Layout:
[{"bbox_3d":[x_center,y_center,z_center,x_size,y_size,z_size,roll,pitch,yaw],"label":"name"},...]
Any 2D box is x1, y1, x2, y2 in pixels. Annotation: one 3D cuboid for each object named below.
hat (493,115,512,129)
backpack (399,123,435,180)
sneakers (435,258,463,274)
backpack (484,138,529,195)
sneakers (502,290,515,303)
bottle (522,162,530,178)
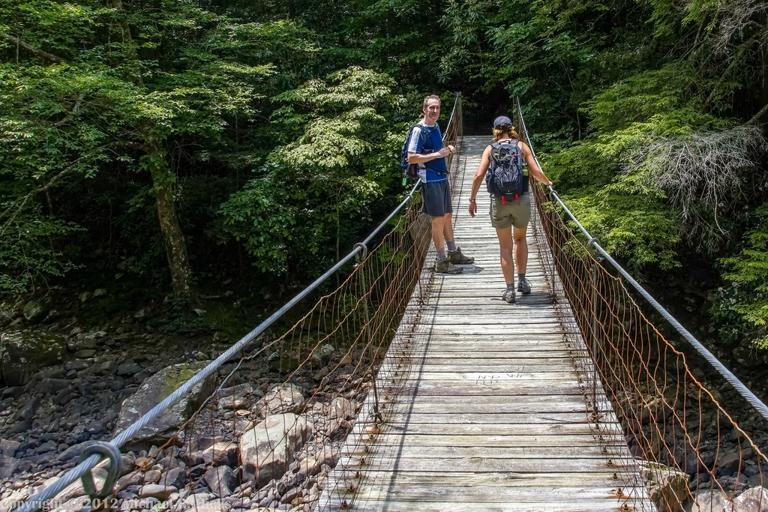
[{"bbox_3d":[1.514,-1.687,7.453,0.185,0.124,0.296,-2,11,14],"label":"hat"},{"bbox_3d":[0.357,-1.389,7.856,0.253,0.800,0.627,-4,23,-3],"label":"backpack"},{"bbox_3d":[0.924,0.174,8.443,0.433,0.297,0.160,-4,23,2],"label":"sneakers"},{"bbox_3d":[1.535,-1.079,7.320,0.515,0.696,0.335,1,23,9],"label":"backpack"},{"bbox_3d":[1.652,0.542,7.710,0.103,0.134,0.198,2,9,9],"label":"sneakers"},{"bbox_3d":[1.833,-1.119,7.587,0.085,0.093,0.283,13,2,16],"label":"bottle"}]
